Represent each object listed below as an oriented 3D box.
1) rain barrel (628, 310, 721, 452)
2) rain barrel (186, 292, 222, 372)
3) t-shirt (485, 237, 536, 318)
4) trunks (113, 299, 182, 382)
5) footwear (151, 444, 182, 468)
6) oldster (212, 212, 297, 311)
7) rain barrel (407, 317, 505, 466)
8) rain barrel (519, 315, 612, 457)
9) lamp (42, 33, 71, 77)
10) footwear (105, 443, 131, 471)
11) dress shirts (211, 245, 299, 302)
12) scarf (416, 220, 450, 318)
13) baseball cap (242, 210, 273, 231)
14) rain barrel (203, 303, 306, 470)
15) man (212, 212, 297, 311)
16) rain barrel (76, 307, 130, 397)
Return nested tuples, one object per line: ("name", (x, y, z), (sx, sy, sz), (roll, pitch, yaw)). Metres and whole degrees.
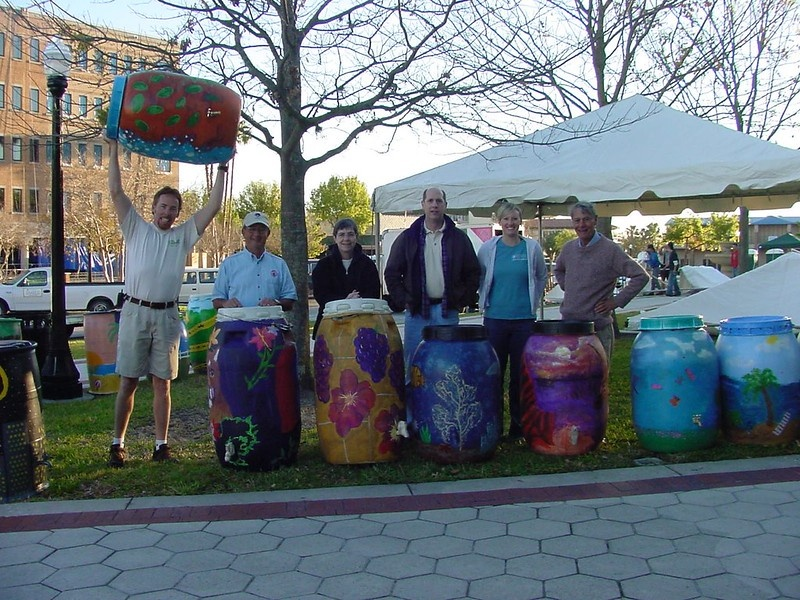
("rain barrel", (2.339, 0.726, 5.354), (0.702, 1.164, 0.310), (1, 7, 18))
("rain barrel", (-3.012, 0.501, 10.123), (0.691, 1.178, 0.676), (-7, 0, 0))
("t-shirt", (1.025, -0.189, 5.968), (0.432, 0.740, 0.241), (-1, 7, 7))
("trunks", (-2.186, 0.282, 5.553), (0.517, 0.715, 0.380), (4, 17, -23))
("footwear", (-2.080, 1.369, 5.572), (0.118, 0.143, 0.292), (0, 4, -26))
("oldster", (-1.318, -0.245, 5.768), (0.804, 1.166, 0.578), (2, -5, -21))
("rain barrel", (0.487, 0.793, 5.482), (0.796, 1.149, 0.779), (-1, -1, 0))
("rain barrel", (1.439, 0.743, 5.611), (0.760, 1.202, 0.773), (-2, 5, 0))
("lamp", (-4.236, -3.026, 7.793), (0.303, 0.486, 0.504), (-5, 8, -27))
("footwear", (-2.447, 1.346, 5.462), (0.135, 0.189, 0.251), (-5, 8, -26))
("dress shirts", (-1.332, -0.153, 5.859), (0.771, 0.660, 0.316), (0, 3, -22))
("scarf", (0.314, -0.286, 5.787), (0.230, 0.846, 0.241), (-1, 7, 3))
("baseball cap", (-1.271, -0.710, 5.715), (0.210, 0.158, 0.350), (3, -6, -6))
("rain barrel", (-1.245, 0.749, 5.441), (0.792, 1.323, 0.808), (-4, -2, 0))
("man", (-1.309, -0.245, 5.783), (0.818, 1.158, 0.583), (2, -6, -26))
("rain barrel", (-3.974, 0.705, 8.671), (0.747, 1.115, 0.784), (-4, 2, 0))
